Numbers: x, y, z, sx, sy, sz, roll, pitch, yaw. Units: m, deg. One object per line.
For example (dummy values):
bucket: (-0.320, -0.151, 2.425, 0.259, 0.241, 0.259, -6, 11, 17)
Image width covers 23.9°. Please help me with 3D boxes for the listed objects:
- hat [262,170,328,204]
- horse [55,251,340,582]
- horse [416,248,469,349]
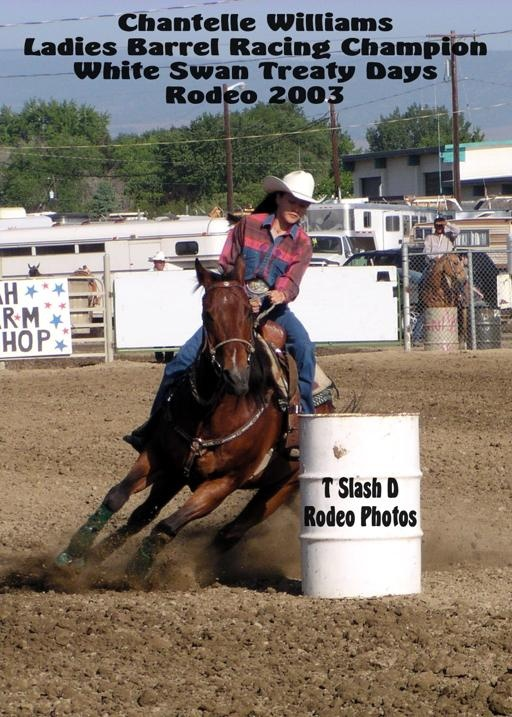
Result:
hat: (0.210, -1.082, 7.666, 0.323, 0.219, 0.579, -2, 6, 1)
horse: (-0.228, 0.367, 7.262, 1.288, 1.915, 1.497, 2, 7, 32)
horse: (2.855, -0.878, 18.282, 0.707, 1.382, 0.601, -1, 6, 8)
